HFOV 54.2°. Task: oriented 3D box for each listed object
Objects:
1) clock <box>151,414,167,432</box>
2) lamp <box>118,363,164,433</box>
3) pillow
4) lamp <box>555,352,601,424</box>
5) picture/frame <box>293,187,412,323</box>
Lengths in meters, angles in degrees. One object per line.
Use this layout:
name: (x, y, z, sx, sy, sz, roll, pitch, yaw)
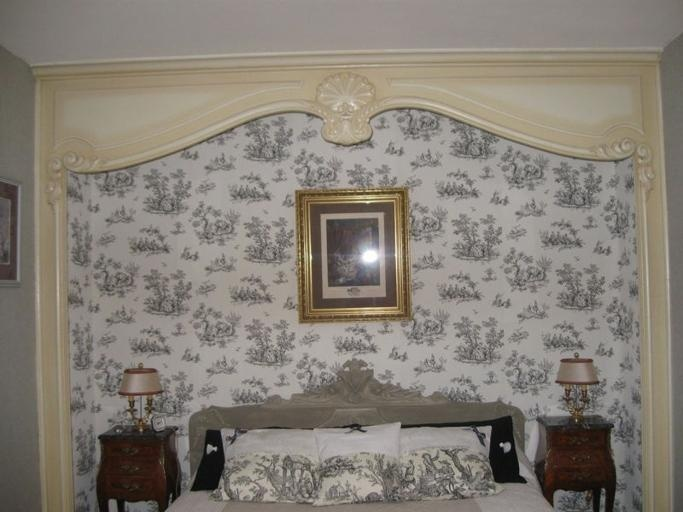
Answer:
clock: (-1.593, 1.444, 5.776, 0.122, 0.131, 0.041, 6, -21, -35)
lamp: (-1.743, 1.225, 5.802, 0.342, 0.571, 0.494, 1, -7, -16)
pillow: (0.147, 1.669, 5.447, 2.676, 0.589, 0.587, 0, -7, -1)
lamp: (2.049, 1.134, 5.778, 0.339, 0.570, 0.468, -3, -7, 22)
picture/frame: (0.125, 0.028, 5.992, 1.076, 1.352, 0.095, -1, 0, 2)
